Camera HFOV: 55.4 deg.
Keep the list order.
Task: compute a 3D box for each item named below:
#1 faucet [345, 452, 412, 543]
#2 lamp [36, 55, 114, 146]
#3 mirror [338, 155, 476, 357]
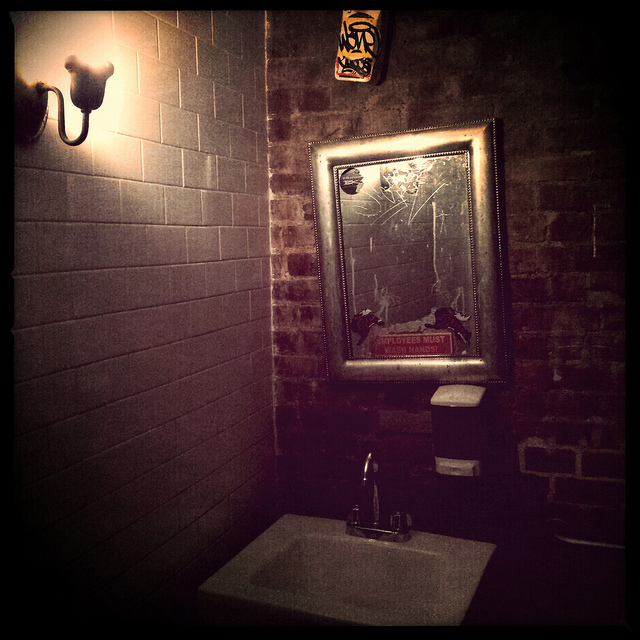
[{"bbox_3d":[0.182,0.526,1.882,0.198,0.251,0.174,2,8,5],"label":"faucet"},{"bbox_3d":[-0.510,-0.461,1.284,0.055,0.187,0.178,4,9,20],"label":"lamp"},{"bbox_3d":[0.273,-0.203,1.791,0.475,0.778,0.031,-4,3,24],"label":"mirror"}]
